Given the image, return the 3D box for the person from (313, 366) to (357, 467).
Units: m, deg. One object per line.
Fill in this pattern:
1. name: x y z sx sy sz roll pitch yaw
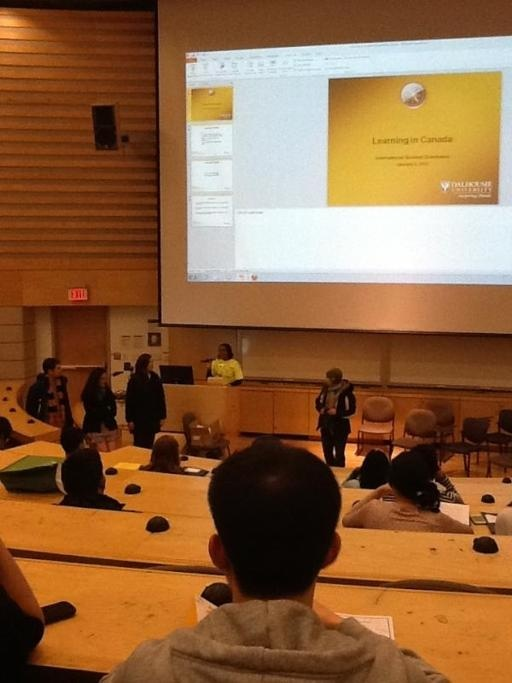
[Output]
1. person: 0.724 0.755 5.480 0.372 1.049 0.343 7 19 21

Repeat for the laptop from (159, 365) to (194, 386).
1. laptop: -0.862 0.291 6.493 0.339 0.226 0.205 3 7 10

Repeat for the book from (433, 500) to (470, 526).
1. book: 0.822 0.720 2.508 0.141 0.035 0.155 1 6 8

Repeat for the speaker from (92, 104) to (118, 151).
1. speaker: -1.885 -2.705 7.478 0.347 0.531 0.229 -6 12 0
